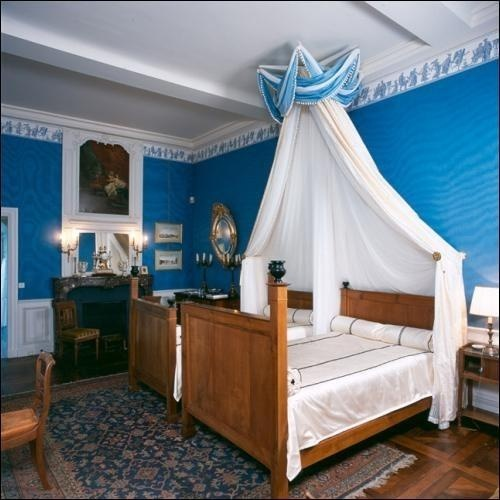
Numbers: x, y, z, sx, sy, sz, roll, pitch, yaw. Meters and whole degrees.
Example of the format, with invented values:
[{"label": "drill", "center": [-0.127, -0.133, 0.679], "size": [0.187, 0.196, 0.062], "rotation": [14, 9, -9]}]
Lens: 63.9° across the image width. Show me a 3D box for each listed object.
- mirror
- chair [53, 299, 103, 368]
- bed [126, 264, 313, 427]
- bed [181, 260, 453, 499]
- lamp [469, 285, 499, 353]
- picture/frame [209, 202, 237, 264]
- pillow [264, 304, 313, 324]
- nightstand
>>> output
[{"label": "mirror", "center": [-2.228, 0.115, 6.386], "size": [0.721, 0.812, 0.071], "rotation": [-4, -20, -17]}, {"label": "chair", "center": [-2.431, 1.124, 5.618], "size": [0.444, 0.704, 0.701], "rotation": [-2, 0, -44]}, {"label": "bed", "center": [-0.416, 0.924, 4.593], "size": [1.653, 1.256, 1.268], "rotation": [4, -5, -39]}, {"label": "bed", "center": [0.548, 0.940, 3.519], "size": [1.776, 1.371, 1.429], "rotation": [-1, 1, -40]}, {"label": "lamp", "center": [1.982, 0.574, 3.382], "size": [0.198, 0.527, 0.345], "rotation": [-1, 1, 32]}, {"label": "picture/frame", "center": [-0.418, -0.274, 6.579], "size": [0.134, 1.405, 0.879], "rotation": [-4, 2, -35]}, {"label": "pillow", "center": [0.487, 0.790, 4.697], "size": [0.376, 0.113, 0.327], "rotation": [-1, 4, -18]}, {"label": "nightstand", "center": [1.954, 1.159, 3.435], "size": [0.310, 0.702, 0.349], "rotation": [-1, 1, 34]}]
